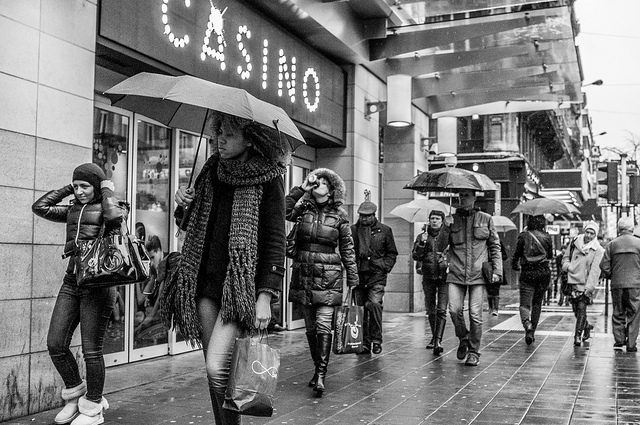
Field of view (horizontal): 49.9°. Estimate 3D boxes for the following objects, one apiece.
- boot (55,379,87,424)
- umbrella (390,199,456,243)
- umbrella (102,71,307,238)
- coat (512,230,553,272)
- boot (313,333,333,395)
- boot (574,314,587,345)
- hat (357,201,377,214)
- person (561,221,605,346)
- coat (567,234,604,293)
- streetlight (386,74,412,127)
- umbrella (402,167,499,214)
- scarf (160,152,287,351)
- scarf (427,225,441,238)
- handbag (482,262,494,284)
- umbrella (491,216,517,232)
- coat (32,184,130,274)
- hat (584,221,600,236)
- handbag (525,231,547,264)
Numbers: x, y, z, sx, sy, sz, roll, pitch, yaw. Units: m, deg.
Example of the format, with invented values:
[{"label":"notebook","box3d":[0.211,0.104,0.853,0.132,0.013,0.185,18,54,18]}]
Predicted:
[{"label":"boot","box3d":[-2.736,2.103,7.568,0.235,0.253,0.563,1,-1,13]},{"label":"umbrella","box3d":[2.240,0.108,15.113,0.947,0.431,0.922,-27,21,-27]},{"label":"umbrella","box3d":[-1.195,-0.683,6.836,1.681,1.228,1.613,6,17,-24]},{"label":"coat","box3d":[3.973,0.674,12.871,0.817,0.771,0.476,5,-5,-1]},{"label":"boot","box3d":[0.022,1.924,8.849,0.205,0.747,0.425,-3,-5,10]},{"label":"boot","box3d":[4.718,2.100,12.587,0.264,0.571,0.184,19,-8,-37]},{"label":"hat","box3d":[0.806,-0.077,12.071,0.277,0.145,0.406,-2,1,14]},{"label":"person","box3d":[5.018,1.301,13.127,0.754,2.292,1.381,-4,-5,21]},{"label":"coat","box3d":[5.072,0.980,13.213,0.692,1.069,1.014,-4,-5,20]},{"label":"streetlight","box3d":[1.819,-2.640,16.065,0.556,1.215,0.560,-3,-5,11]},{"label":"umbrella","box3d":[2.172,-0.384,11.356,1.069,0.780,1.376,1,-6,-30]},{"label":"scarf","box3d":[-0.867,0.294,6.070,1.018,1.692,0.408,-4,-5,19]},{"label":"scarf","box3d":[2.057,0.340,12.431,0.219,0.174,0.283,-1,-3,-2]},{"label":"handbag","box3d":[2.611,0.928,10.772,0.099,0.264,0.275,-8,-12,20]},{"label":"umbrella","box3d":[5.004,0.308,19.028,0.801,0.319,0.778,-1,-2,-3]},{"label":"coat","box3d":[-2.656,0.185,7.604,0.924,1.257,0.507,-4,-15,6]},{"label":"hat","box3d":[5.401,0.284,13.718,0.235,0.215,0.274,14,-38,31]},{"label":"handbag","box3d":[3.961,0.652,12.713,0.386,0.588,0.231,-4,-5,17]}]
